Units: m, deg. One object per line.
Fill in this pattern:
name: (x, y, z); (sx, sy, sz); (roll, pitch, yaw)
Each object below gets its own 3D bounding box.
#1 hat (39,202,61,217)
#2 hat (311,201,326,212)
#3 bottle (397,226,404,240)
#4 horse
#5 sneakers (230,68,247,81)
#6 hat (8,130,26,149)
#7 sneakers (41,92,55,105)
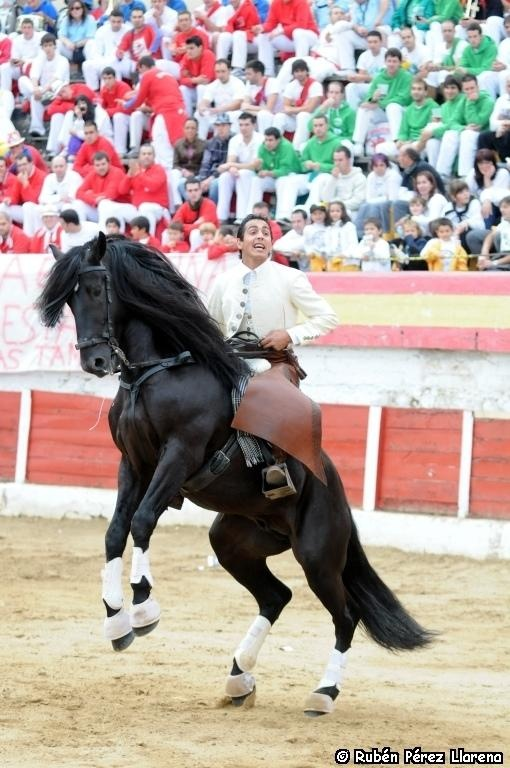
hat: (-2.136, -1.815, 10.239); (0.246, 0.106, 0.267); (0, -2, -8)
hat: (0.572, -1.566, 8.773); (0.130, 0.075, 0.170); (2, 0, -1)
bottle: (1.246, -1.281, 8.372); (0.044, 0.095, 0.079); (0, -2, -29)
horse: (0.008, 0.551, 4.514); (0.803, 1.644, 2.695); (-27, -46, 36)
sneakers: (-0.190, -3.569, 11.360); (0.159, 0.180, 0.258); (3, 0, -4)
hat: (-2.814, -2.887, 11.625); (0.213, 0.096, 0.191); (-15, 9, 1)
sneakers: (-2.652, -3.661, 12.626); (0.164, 0.163, 0.117); (3, 0, 0)
